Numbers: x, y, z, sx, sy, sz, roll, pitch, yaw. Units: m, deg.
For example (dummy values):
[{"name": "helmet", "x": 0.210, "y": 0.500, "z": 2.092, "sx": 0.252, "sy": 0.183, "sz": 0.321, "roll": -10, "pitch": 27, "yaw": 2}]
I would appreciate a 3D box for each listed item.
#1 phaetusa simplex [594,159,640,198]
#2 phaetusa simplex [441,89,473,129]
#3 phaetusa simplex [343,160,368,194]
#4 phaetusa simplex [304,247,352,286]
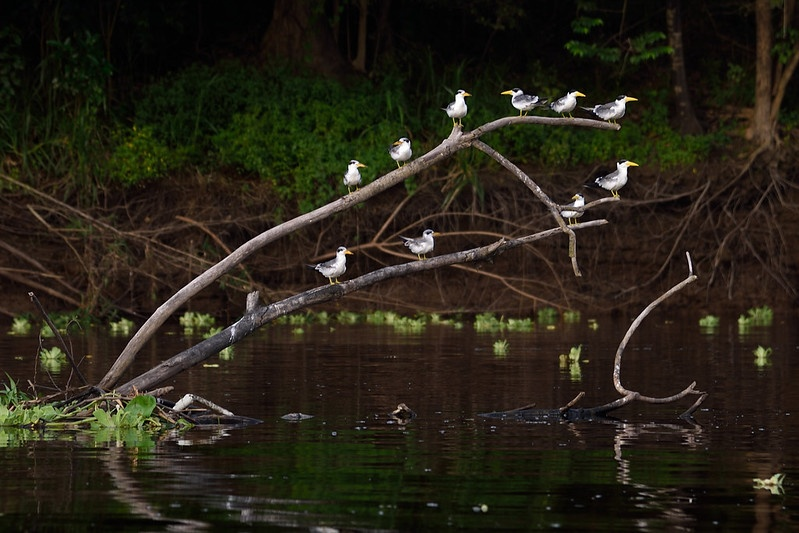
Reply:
[{"name": "phaetusa simplex", "x": 3.770, "y": -1.577, "z": 23.911, "sx": 0.765, "sy": 0.622, "sz": 0.351, "roll": 6, "pitch": 10, "yaw": 36}, {"name": "phaetusa simplex", "x": 0.945, "y": -2.663, "z": 22.685, "sx": 0.290, "sy": 0.580, "sz": 0.734, "roll": -8, "pitch": 15, "yaw": -31}, {"name": "phaetusa simplex", "x": -0.791, "y": -1.648, "z": 24.591, "sx": 0.307, "sy": 0.558, "sz": 0.779, "roll": -5, "pitch": 8, "yaw": -22}, {"name": "phaetusa simplex", "x": -1.128, "y": -0.055, "z": 23.138, "sx": 0.882, "sy": 0.641, "sz": 0.335, "roll": 8, "pitch": 13, "yaw": 37}]
